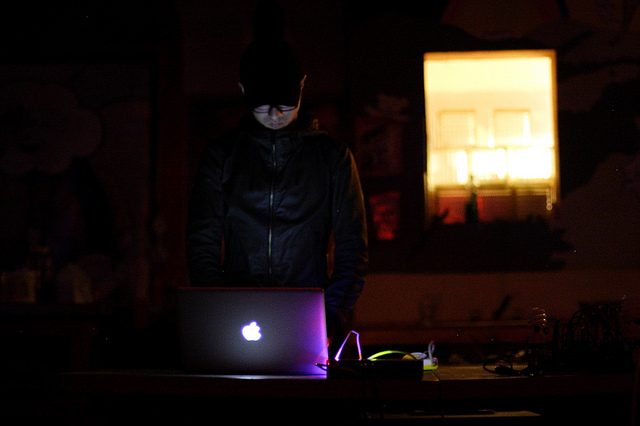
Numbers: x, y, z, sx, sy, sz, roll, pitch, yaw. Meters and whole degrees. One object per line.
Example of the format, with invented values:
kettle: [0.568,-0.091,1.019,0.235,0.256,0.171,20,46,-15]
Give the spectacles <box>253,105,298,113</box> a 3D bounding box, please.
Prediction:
spectacles: [-0.303,-0.703,4.664,0.294,0.051,0.074,0,-4,-2]
